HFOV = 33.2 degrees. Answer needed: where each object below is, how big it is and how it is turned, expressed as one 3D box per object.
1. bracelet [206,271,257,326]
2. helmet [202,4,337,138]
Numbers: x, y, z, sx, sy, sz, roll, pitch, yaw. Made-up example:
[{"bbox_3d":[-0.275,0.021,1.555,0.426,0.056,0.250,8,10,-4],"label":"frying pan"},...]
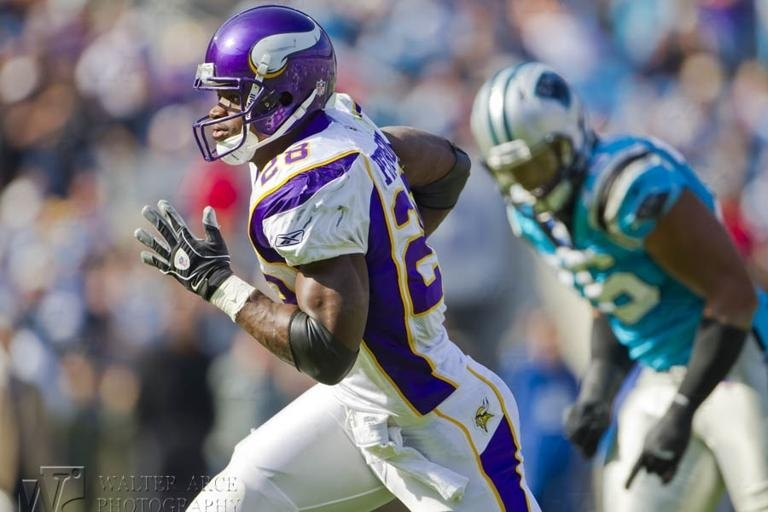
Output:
[{"bbox_3d":[-0.682,0.193,5.734,0.195,0.079,0.200,35,88,16],"label":"bracelet"},{"bbox_3d":[-0.481,-0.861,5.879,0.608,0.544,0.471,-15,19,2],"label":"helmet"}]
